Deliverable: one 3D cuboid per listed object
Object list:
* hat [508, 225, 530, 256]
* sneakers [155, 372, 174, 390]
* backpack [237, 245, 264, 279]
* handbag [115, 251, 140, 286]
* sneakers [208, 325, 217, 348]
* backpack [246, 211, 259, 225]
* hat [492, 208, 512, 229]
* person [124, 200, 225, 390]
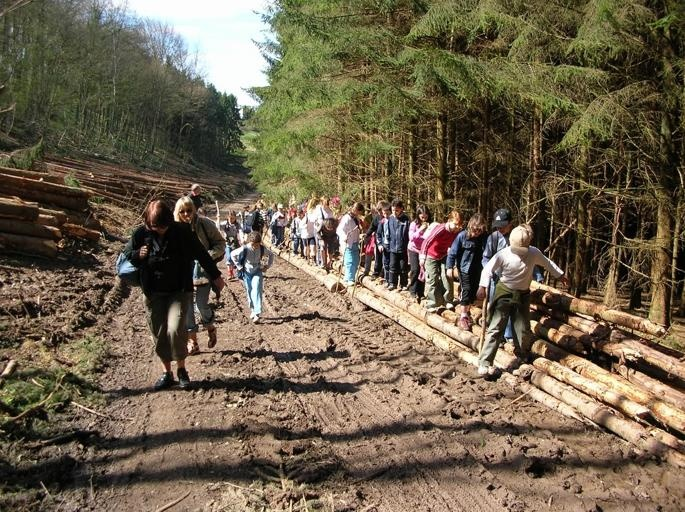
[{"bbox_3d":[2.639,-0.226,7.108,0.237,0.442,0.246,4,-26,13],"label":"hat"},{"bbox_3d":[-2.622,1.833,7.155,0.156,0.206,0.302,5,6,41],"label":"sneakers"},{"bbox_3d":[-1.839,0.109,9.650,0.389,0.554,0.288,22,6,-24],"label":"backpack"},{"bbox_3d":[-2.937,0.177,6.570,0.260,0.466,0.318,-4,8,-30],"label":"handbag"},{"bbox_3d":[-2.252,1.375,8.226,0.149,0.529,0.192,-2,-5,4],"label":"sneakers"},{"bbox_3d":[-3.144,-1.297,17.057,0.128,0.533,0.511,4,-1,11],"label":"backpack"},{"bbox_3d":[2.663,-0.626,7.991,0.230,0.221,0.371,2,22,37],"label":"hat"},{"bbox_3d":[-2.418,0.604,6.729,1.064,2.739,0.604,2,7,13],"label":"person"}]
